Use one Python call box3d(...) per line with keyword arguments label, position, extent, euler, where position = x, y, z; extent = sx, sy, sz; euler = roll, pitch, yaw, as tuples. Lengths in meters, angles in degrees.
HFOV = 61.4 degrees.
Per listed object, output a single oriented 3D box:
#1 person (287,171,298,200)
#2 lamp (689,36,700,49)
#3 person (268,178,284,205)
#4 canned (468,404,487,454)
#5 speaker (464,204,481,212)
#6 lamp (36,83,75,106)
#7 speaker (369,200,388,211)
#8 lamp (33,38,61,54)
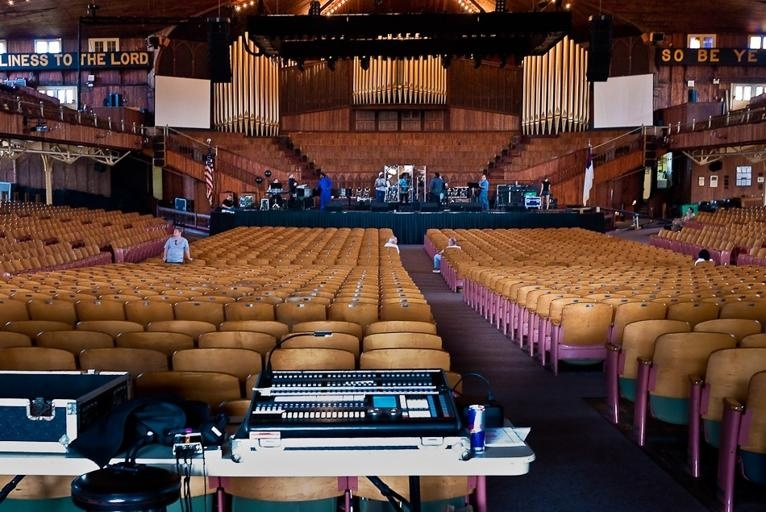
box3d(label="person", position=(-3.265, -2.454, 23.334), extent=(0.299, 0.853, 0.609), euler=(-2, 8, -10))
box3d(label="lamp", position=(12.946, -8.890, 26.840), extent=(0.487, 0.525, 0.481), euler=(-1, 6, 3))
box3d(label="person", position=(-4.011, -2.243, 23.452), extent=(0.783, 1.059, 0.812), euler=(0, 7, -6))
box3d(label="canned", position=(0.562, 1.027, 3.872), extent=(0.105, 0.268, 0.184), euler=(0, 8, 9))
box3d(label="speaker", position=(3.101, -1.652, 22.376), extent=(0.378, 0.262, 0.228), euler=(3, -7, 1))
box3d(label="lamp", position=(-14.124, -6.990, 28.258), extent=(1.719, 0.952, 0.389), euler=(0, 8, 7))
box3d(label="speaker", position=(-0.147, -1.709, 22.461), extent=(0.464, 0.298, 0.477), euler=(0, 5, -4))
box3d(label="lamp", position=(-14.663, -9.199, 28.221), extent=(1.232, 0.544, 0.242), euler=(1, 8, 9))
